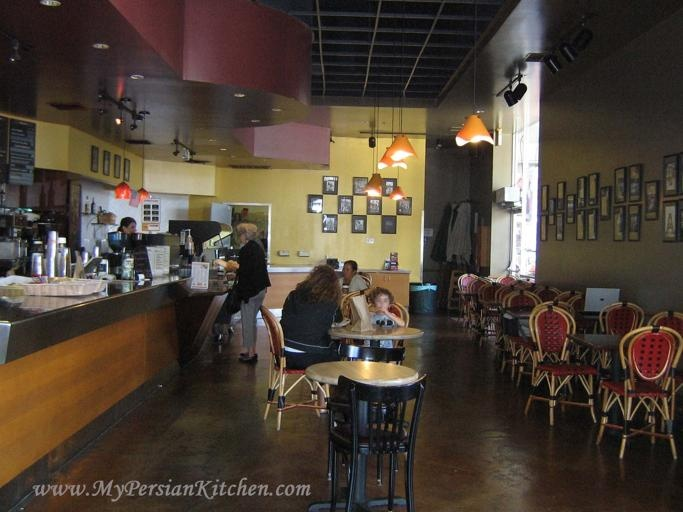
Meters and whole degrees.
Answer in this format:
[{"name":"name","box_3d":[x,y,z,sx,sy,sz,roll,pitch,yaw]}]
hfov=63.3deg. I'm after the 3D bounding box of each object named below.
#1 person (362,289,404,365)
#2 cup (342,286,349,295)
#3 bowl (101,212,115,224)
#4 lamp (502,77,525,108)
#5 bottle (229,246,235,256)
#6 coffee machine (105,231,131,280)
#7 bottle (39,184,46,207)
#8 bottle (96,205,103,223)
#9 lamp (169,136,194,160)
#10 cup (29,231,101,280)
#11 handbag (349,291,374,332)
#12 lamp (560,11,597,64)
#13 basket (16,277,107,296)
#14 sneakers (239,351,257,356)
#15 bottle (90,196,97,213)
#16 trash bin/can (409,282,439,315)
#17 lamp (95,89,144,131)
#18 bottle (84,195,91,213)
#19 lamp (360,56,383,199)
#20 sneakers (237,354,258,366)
[{"name":"person","box_3d":[0.456,0.702,6.044,0.495,0.794,0.568,0,-13,0]},{"name":"cup","box_3d":[0.059,0.640,10.244,0.127,0.151,0.132,1,1,0]},{"name":"bowl","box_3d":[-4.550,-0.730,10.733,0.187,0.125,0.194,-1,2,0]},{"name":"lamp","box_3d":[2.683,-2.565,8.581,0.281,0.279,0.780,3,2,13]},{"name":"bottle","box_3d":[-2.185,-0.097,10.935,0.133,0.181,0.251,-2,0,3]},{"name":"coffee machine","box_3d":[-2.452,-0.015,6.034,0.200,0.487,0.499,2,2,-23]},{"name":"bottle","box_3d":[-4.993,-1.001,9.232,0.071,0.364,0.149,3,2,20]},{"name":"bottle","box_3d":[-4.660,-0.791,10.656,0.108,0.310,0.198,2,2,-25]},{"name":"lamp","box_3d":[-3.059,-1.920,10.665,0.423,0.365,2.200,2,2,-16]},{"name":"cup","box_3d":[-2.631,0.040,5.041,0.561,0.575,0.509,2,1,24]},{"name":"handbag","box_3d":[0.194,0.494,5.633,0.261,0.473,0.476,-3,-1,2]},{"name":"lamp","box_3d":[2.847,-2.685,6.735,0.119,0.375,0.367,20,-46,-29]},{"name":"basket","box_3d":[-2.177,0.252,4.335,0.610,0.109,0.339,2,2,-29]},{"name":"sneakers","box_3d":[-1.307,1.390,7.806,0.198,0.083,0.099,4,-6,-21]},{"name":"bottle","box_3d":[-4.728,-0.960,10.537,0.097,0.309,0.311,2,2,-25]},{"name":"trash bin/can","box_3d":[1.980,1.068,13.403,0.641,0.693,0.672,1,-2,0]},{"name":"lamp","box_3d":[-3.005,-2.039,7.557,0.341,0.392,0.958,-7,-10,15]},{"name":"bottle","box_3d":[-4.772,-0.958,10.369,0.086,0.329,0.188,3,2,1]},{"name":"lamp","box_3d":[0.645,-2.294,10.921,0.345,2.095,0.355,10,-18,-26]},{"name":"sneakers","box_3d":[-1.316,1.451,7.727,0.267,0.119,0.110,9,-5,-7]}]
